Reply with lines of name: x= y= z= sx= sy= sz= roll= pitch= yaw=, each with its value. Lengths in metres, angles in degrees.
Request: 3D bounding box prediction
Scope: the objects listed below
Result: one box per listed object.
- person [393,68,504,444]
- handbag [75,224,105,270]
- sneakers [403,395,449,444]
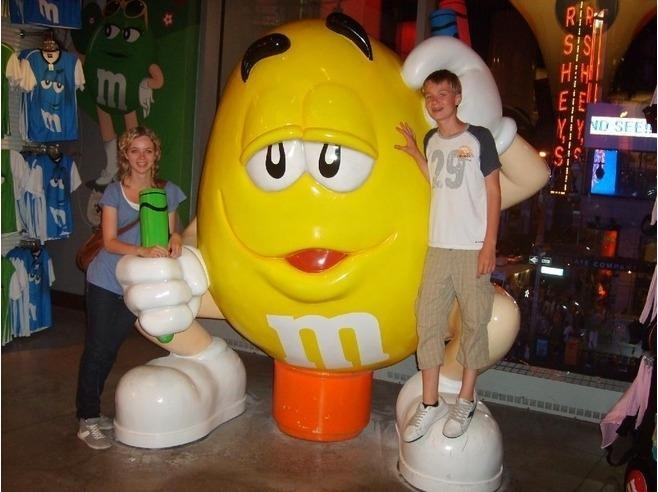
person: x=0.645 y=0.081 z=2.769 sx=0.518 sy=2.044 sz=0.286 roll=5 pitch=8 yaw=21
handbag: x=-1.512 y=0.051 z=3.210 sx=0.088 sy=0.284 sz=0.199 roll=31 pitch=3 yaw=-26
sneakers: x=0.530 y=0.979 z=2.881 sx=0.348 sy=0.141 sz=0.125 roll=-45 pitch=35 yaw=-11
